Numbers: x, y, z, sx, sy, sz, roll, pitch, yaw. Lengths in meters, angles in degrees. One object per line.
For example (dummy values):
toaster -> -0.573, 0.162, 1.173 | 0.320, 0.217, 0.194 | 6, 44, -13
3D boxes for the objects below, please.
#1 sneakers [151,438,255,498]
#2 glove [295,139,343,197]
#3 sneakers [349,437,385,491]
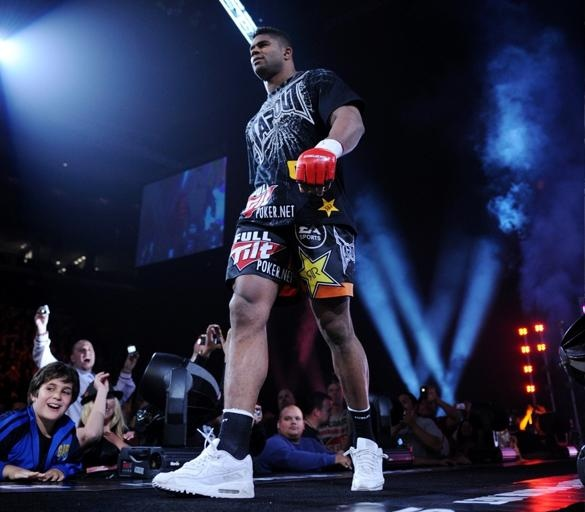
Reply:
sneakers -> -0.297, 0.714, 1.577 | 0.349, 0.208, 0.150 | 7, -23, -10
glove -> 0.097, -0.309, 1.633 | 0.132, 0.238, 0.110 | 2, -63, 19
sneakers -> 0.288, 0.788, 1.744 | 0.093, 0.101, 0.213 | -2, -11, 5
